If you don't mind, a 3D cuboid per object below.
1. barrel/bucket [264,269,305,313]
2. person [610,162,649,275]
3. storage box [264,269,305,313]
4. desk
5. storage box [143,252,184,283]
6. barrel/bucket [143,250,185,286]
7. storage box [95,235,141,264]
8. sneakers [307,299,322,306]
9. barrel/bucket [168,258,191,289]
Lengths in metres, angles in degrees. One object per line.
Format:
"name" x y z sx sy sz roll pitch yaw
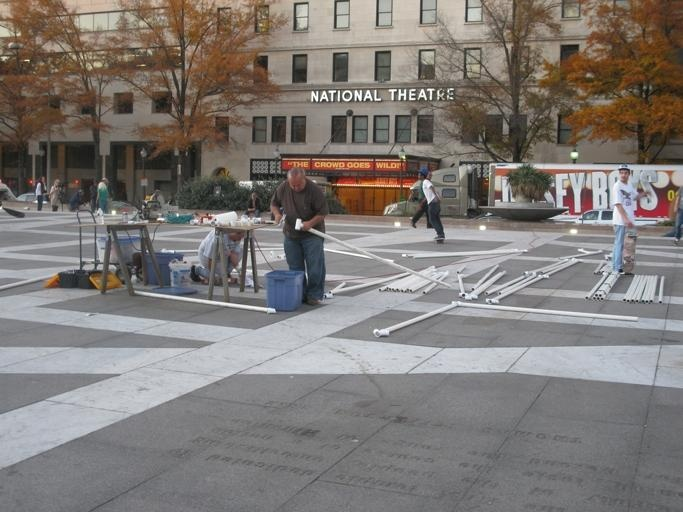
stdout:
"barrel/bucket" -0.775 0.473 10.480 0.448 0.377 0.614 0 -1 11
"person" 5.175 -0.667 14.044 0.420 1.943 1.104 5 13 19
"storage box" -0.580 0.513 10.594 0.560 0.470 0.803 2 -1 39
"desk" -2.304 0.012 11.436 2.463 1.219 1.826 5 13 20
"storage box" -2.868 0.155 12.215 0.650 0.564 0.509 -3 -3 37
"barrel/bucket" -2.908 0.203 12.286 0.560 0.569 0.654 1 -3 -30
"storage box" -3.570 -0.122 12.262 0.568 0.410 0.718 1 3 4
"sneakers" -0.381 0.654 10.776 0.217 0.079 0.073 -5 5 -18
"barrel/bucket" -2.516 0.284 11.863 0.403 0.393 0.396 -1 -2 0
